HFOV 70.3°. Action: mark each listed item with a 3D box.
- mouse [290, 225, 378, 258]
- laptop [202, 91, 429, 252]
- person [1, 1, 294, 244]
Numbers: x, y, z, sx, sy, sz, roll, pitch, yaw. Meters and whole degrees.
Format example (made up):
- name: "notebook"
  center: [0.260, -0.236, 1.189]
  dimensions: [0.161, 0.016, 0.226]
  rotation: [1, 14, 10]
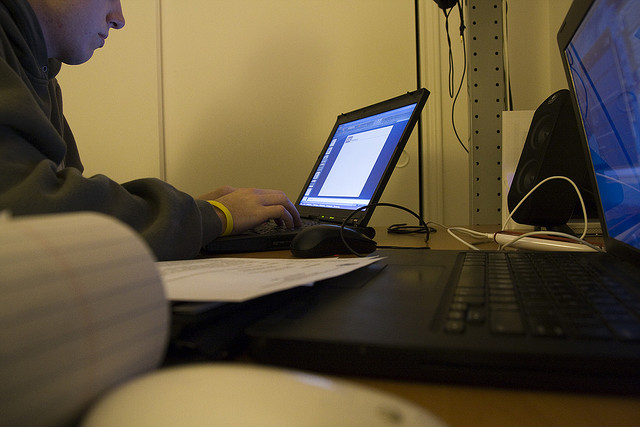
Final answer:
- name: "mouse"
  center: [0.024, 0.046, 0.823]
  dimensions: [0.166, 0.061, 0.096]
  rotation: [-1, 2, -31]
- name: "laptop"
  center: [0.003, -0.188, 1.076]
  dimensions: [0.415, 0.280, 0.413]
  rotation: [-15, 0, -31]
- name: "person"
  center: [-0.403, -0.298, 1.259]
  dimensions: [0.492, 0.517, 0.735]
  rotation: [5, 8, 1]
